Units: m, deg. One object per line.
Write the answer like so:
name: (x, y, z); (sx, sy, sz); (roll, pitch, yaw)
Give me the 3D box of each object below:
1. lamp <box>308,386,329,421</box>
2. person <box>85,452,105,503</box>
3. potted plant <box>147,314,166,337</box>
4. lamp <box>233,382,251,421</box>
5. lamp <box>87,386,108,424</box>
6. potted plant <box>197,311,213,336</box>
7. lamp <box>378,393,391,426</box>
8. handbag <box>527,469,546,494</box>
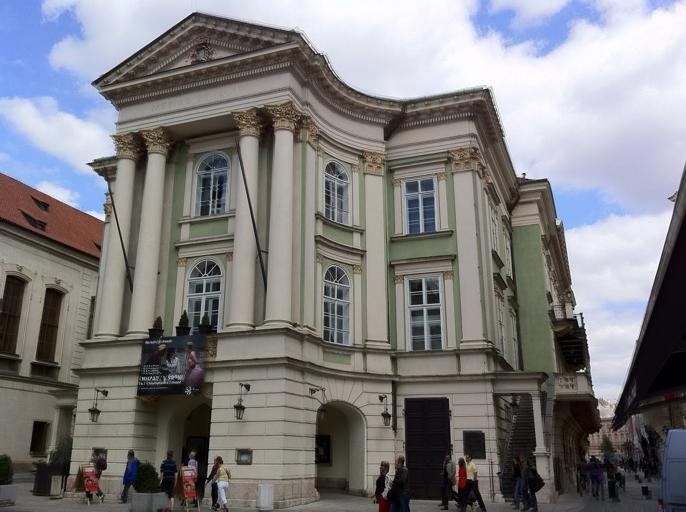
lamp: (-1.086, 6.327, 24.224); (0.322, 1.338, 1.411); (-6, -23, 18)
person: (-10.132, 9.130, 22.611); (0.467, 1.513, 1.448); (-1, -26, -11)
potted plant: (-8.531, 3.279, 25.297); (0.775, 1.220, 0.821); (1, -21, 0)
lamp: (-4.128, 5.944, 22.655); (0.570, 1.485, 0.540); (5, -22, -12)
lamp: (-11.131, 6.682, 24.985); (0.906, 1.563, 0.420); (-11, -24, 27)
potted plant: (-6.018, 3.036, 24.547); (0.766, 1.176, 0.735); (-1, -16, 5)
lamp: (1.990, 7.166, 25.869); (0.627, 1.515, 0.512); (7, -22, -15)
handbag: (7.549, 8.890, 21.871); (0.581, 0.929, 0.339); (-2, -21, 7)
